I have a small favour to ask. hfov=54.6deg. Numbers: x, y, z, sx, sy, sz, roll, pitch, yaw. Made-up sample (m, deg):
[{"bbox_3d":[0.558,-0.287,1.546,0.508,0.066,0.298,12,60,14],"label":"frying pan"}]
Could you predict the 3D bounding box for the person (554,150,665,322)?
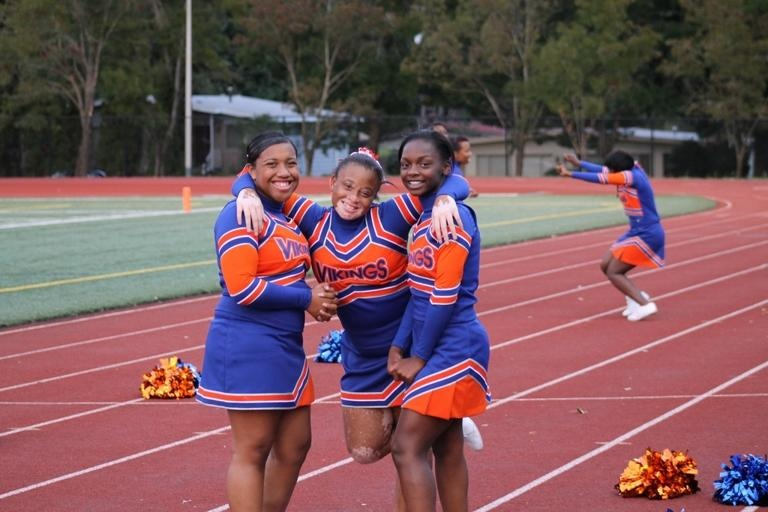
[{"bbox_3d":[3.353,-0.302,10.193,1.054,2.314,0.689,0,3,0],"label":"person"}]
